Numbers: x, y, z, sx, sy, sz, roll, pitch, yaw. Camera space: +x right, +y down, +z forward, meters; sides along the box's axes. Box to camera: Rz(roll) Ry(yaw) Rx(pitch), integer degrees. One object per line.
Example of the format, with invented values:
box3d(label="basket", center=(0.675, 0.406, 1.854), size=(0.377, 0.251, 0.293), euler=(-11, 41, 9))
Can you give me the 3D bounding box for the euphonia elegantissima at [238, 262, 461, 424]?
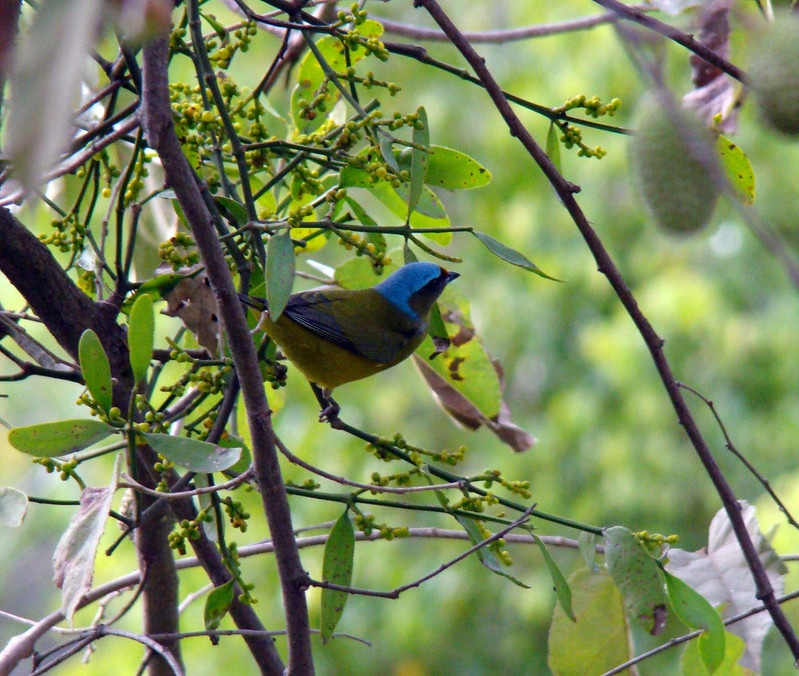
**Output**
box3d(label="euphonia elegantissima", center=(-0.149, 0.033, 4.808), size=(1.031, 0.705, 0.358), euler=(12, -22, -31))
